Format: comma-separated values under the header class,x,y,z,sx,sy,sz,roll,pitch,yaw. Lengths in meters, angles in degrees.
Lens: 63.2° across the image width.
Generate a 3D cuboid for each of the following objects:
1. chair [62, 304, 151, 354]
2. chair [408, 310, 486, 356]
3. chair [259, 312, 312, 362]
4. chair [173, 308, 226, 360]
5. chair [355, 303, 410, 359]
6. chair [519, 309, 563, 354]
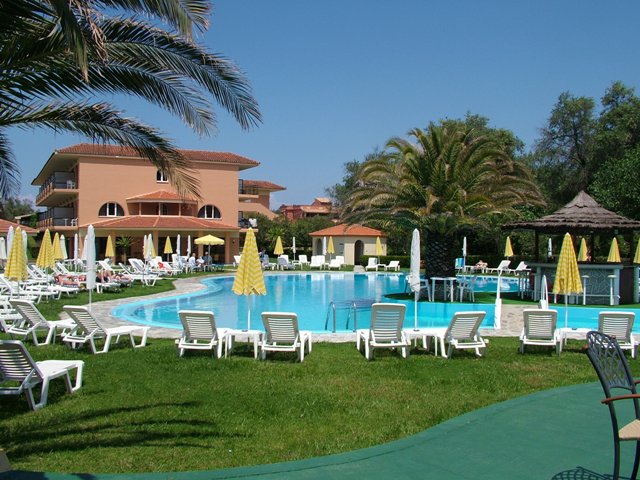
class,x,y,z,sx,sy,sz,roll,pitch,yaw
chair,-4.586,1.959,11.564,1.055,0.995,1.996,1,0,27
chair,2.776,1.910,11.019,0.943,0.688,1.643,1,-1,-10
chair,-0.667,1.921,10.669,0.917,0.988,1.132,0,0,6
chair,-2.400,1.863,10.884,0.648,0.685,1.293,1,0,3
chair,1.273,1.812,10.651,1.084,1.115,1.045,0,1,19
chair,4.686,1.834,11.126,0.618,0.698,1.163,0,-2,14
